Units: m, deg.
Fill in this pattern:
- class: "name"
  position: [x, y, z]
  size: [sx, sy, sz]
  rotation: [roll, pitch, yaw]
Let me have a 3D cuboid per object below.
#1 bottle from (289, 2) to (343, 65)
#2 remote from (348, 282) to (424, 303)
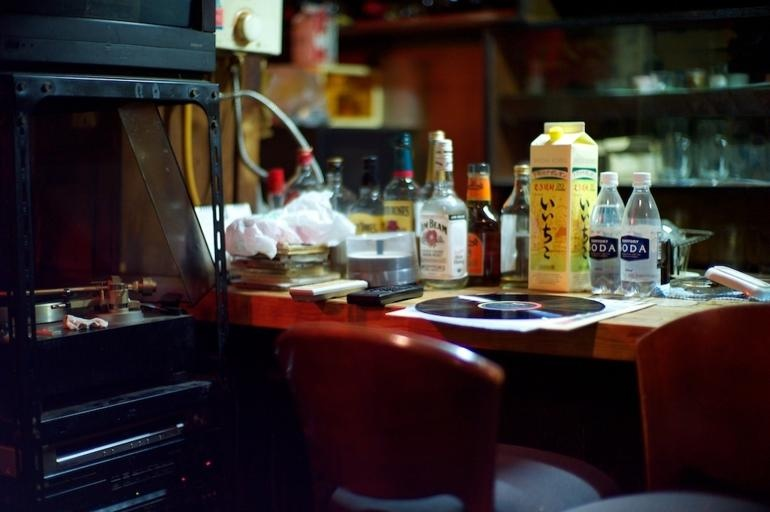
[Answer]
- class: "bottle"
  position: [-0.240, -0.721, 2.154]
  size: [0.103, 0.231, 0.296]
  rotation: [-5, 7, -32]
- class: "remote"
  position: [0.002, 0.078, 1.449]
  size: [0.057, 0.029, 0.120]
  rotation: [4, 10, 43]
